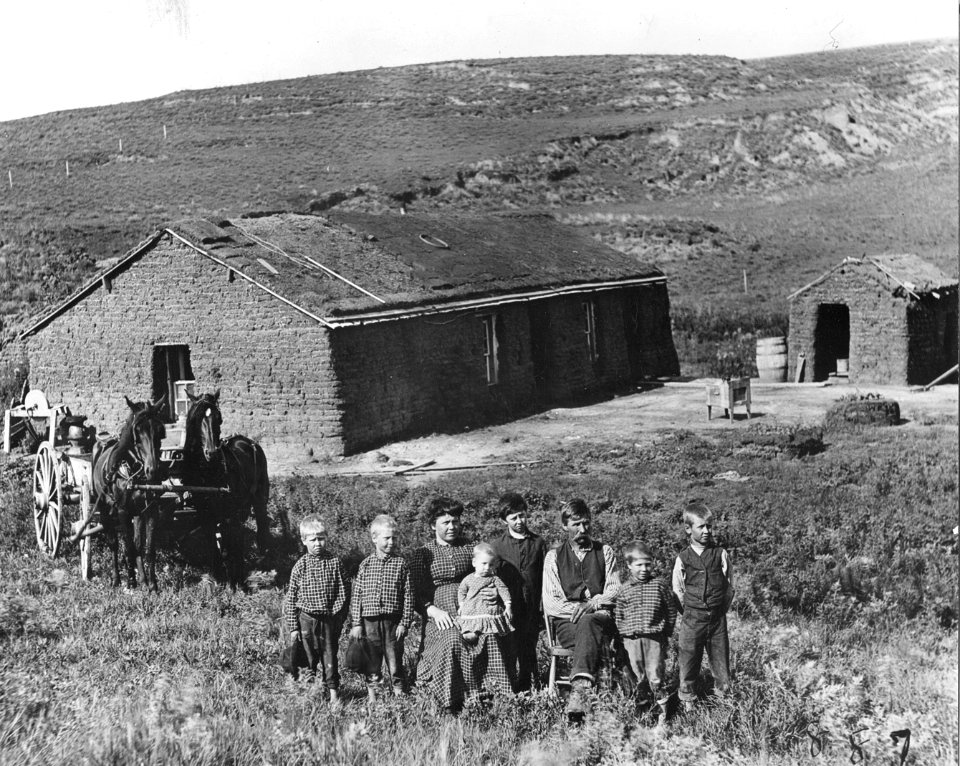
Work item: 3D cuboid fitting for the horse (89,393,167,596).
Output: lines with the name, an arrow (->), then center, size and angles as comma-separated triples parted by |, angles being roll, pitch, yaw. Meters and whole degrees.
horse -> -3.899, 1.241, 13.012 | 0.531, 1.576, 1.316 | -4, 2, -36

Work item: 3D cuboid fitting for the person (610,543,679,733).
person -> 1.477, 2.238, 10.403 | 0.545, 1.718, 0.466 | -2, 2, 9

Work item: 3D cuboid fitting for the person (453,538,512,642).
person -> 0.027, 1.866, 10.449 | 0.512, 0.909, 0.384 | -3, 2, 0

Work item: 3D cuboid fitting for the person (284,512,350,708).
person -> -1.517, 2.126, 10.870 | 0.599, 1.796, 0.426 | -3, 2, -3

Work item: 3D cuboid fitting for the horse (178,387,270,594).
horse -> -2.898, 1.183, 13.436 | 0.671, 1.507, 1.193 | -2, 2, 11

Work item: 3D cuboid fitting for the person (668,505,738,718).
person -> 1.960, 1.984, 10.315 | 0.509, 1.856, 0.372 | -2, 2, 10
